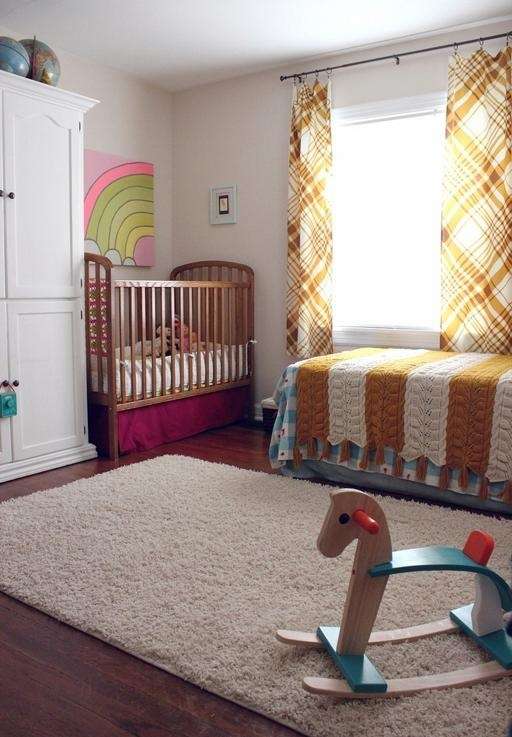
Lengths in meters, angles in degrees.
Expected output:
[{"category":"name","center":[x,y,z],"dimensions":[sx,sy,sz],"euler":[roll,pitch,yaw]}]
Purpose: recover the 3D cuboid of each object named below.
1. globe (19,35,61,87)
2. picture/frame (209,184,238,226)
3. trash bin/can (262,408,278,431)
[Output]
[{"category":"globe","center":[-1.004,-1.433,2.881],"dimensions":[0.230,0.281,0.228],"euler":[-5,13,-19]},{"category":"picture/frame","center":[-0.226,-1.191,4.341],"dimensions":[0.300,0.365,0.027],"euler":[3,4,42]},{"category":"trash bin/can","center":[0.087,0.306,3.736],"dimensions":[0.104,0.193,0.198],"euler":[1,0,7]}]
